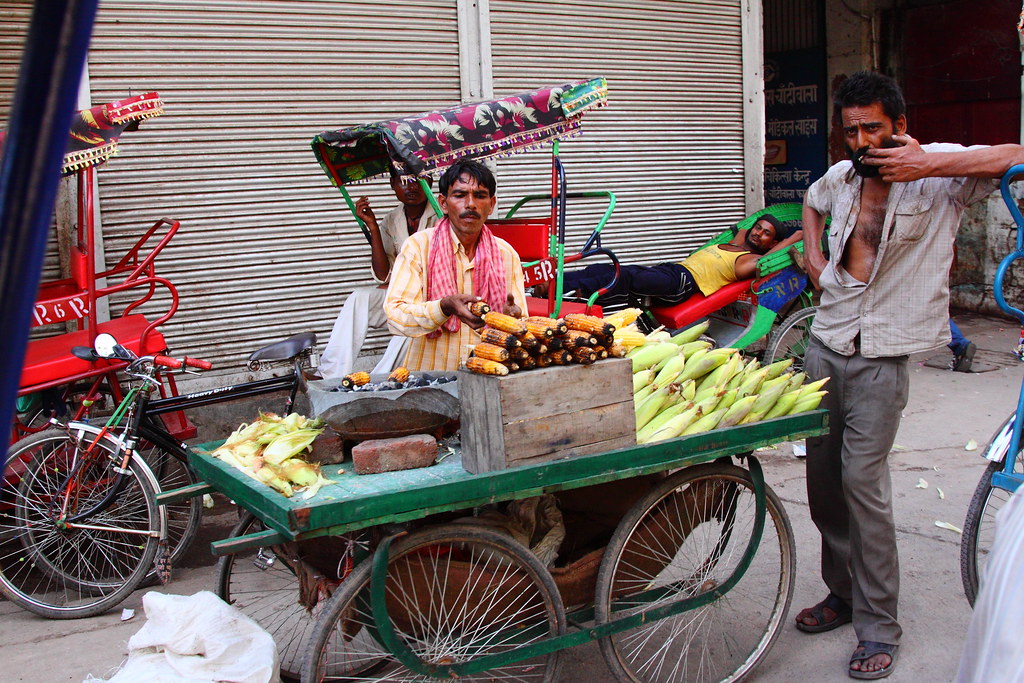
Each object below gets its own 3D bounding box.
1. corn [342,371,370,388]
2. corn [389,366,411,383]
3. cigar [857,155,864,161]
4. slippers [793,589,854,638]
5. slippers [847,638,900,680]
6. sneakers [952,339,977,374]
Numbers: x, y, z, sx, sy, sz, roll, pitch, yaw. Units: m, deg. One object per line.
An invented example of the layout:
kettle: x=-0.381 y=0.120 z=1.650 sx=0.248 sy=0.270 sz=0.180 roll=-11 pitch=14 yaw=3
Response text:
corn: x=-0.696 y=0.167 z=3.742 sx=0.110 sy=0.063 sz=0.056 roll=-7 pitch=34 yaw=-38
corn: x=-0.505 y=0.160 z=3.766 sx=0.063 sy=0.068 sz=0.080 roll=27 pitch=18 yaw=21
cigar: x=1.634 y=-0.863 z=3.851 sx=0.018 sy=0.026 sz=0.078 roll=2 pitch=14 yaw=17
slippers: x=1.680 y=1.481 z=4.448 sx=0.328 sy=0.139 sz=0.153 roll=-2 pitch=4 yaw=-17
slippers: x=1.746 y=1.552 z=4.008 sx=0.121 sy=0.122 sz=0.290 roll=-6 pitch=-11 yaw=40
sneakers: x=4.698 y=0.147 z=8.538 sx=0.176 sy=0.415 sz=0.153 roll=-1 pitch=7 yaw=9
